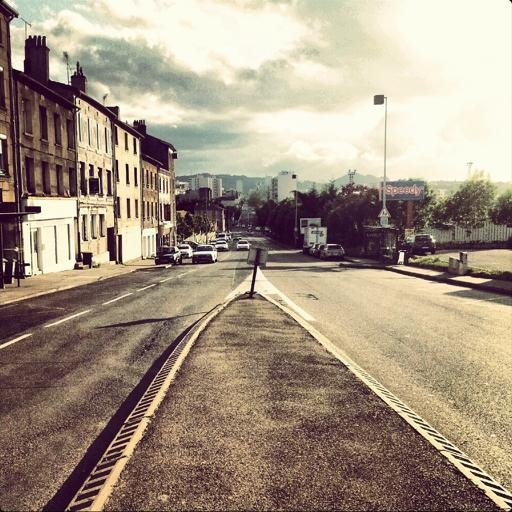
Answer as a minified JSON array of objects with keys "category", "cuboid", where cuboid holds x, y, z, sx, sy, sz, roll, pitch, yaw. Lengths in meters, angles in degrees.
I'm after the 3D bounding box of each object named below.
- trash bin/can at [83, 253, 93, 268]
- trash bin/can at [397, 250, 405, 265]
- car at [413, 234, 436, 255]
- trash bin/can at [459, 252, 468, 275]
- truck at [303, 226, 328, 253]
[{"category":"trash bin/can","cuboid":[-10.244,0.266,34.025,0.564,1.197,0.663,-1,1,-10]},{"category":"trash bin/can","cuboid":[9.133,0.095,35.218,0.770,0.764,1.756,-1,6,15]},{"category":"car","cuboid":[12.850,-0.883,42.914,1.642,1.460,0.945,2,4,18]},{"category":"trash bin/can","cuboid":[9.403,0.328,25.332,0.374,0.952,0.637,2,4,22]},{"category":"truck","cuboid":[6.564,-2.197,62.000,1.833,3.294,3.751,0,6,-1]}]
